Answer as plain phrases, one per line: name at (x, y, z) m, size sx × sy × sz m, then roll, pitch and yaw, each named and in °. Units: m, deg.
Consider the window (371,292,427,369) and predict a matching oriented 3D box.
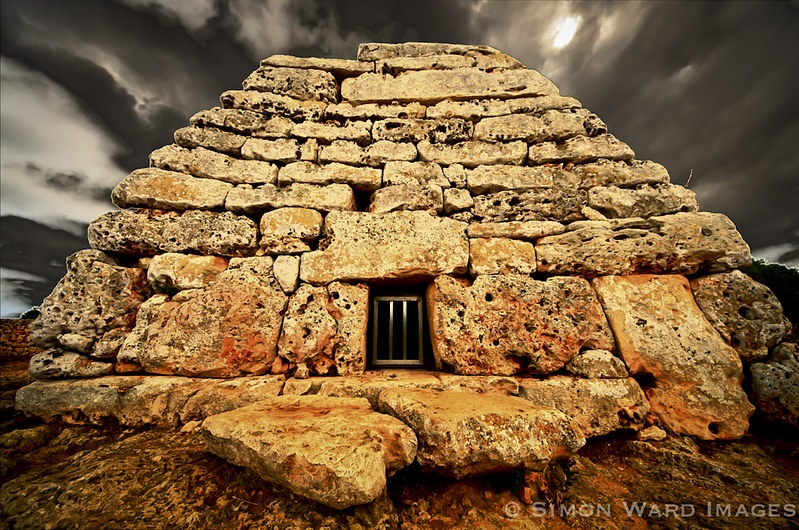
window at (-0.021, 0.840, 5.338) m, size 0.927 × 1.204 × 0.095 m, roll -1°, pitch -9°, yaw 5°
